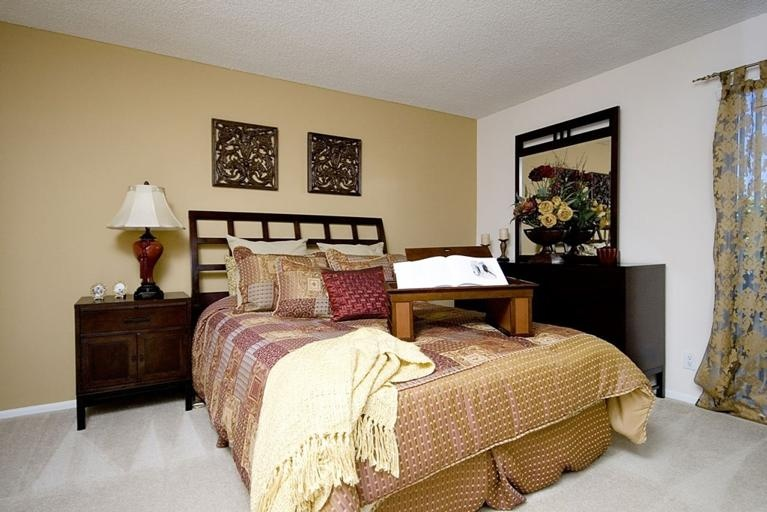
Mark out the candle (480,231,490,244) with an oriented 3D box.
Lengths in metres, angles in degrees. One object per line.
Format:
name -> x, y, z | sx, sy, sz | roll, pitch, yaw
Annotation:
candle -> 1.205, -0.211, 5.955 | 0.131, 0.144, 0.131 | -1, -3, 8

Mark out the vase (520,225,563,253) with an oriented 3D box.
vase -> 1.635, -0.182, 5.128 | 0.311, 0.203, 0.286 | 1, -7, -9

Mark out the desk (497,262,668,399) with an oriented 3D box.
desk -> 1.642, 0.589, 3.980 | 0.418, 0.918, 1.247 | 1, -2, -32

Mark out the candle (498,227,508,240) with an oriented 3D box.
candle -> 1.401, -0.266, 5.887 | 0.128, 0.141, 0.127 | 0, -3, 4

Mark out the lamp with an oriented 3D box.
lamp -> -2.111, -0.162, 4.531 | 0.587, 1.050, 0.466 | -4, 4, -18

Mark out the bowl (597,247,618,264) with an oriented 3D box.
bowl -> 2.123, 0.001, 4.771 | 0.158, 0.133, 0.157 | 0, -7, 0

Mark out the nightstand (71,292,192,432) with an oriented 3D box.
nightstand -> -2.227, 0.845, 4.509 | 0.923, 1.009, 0.562 | -1, 7, -29
